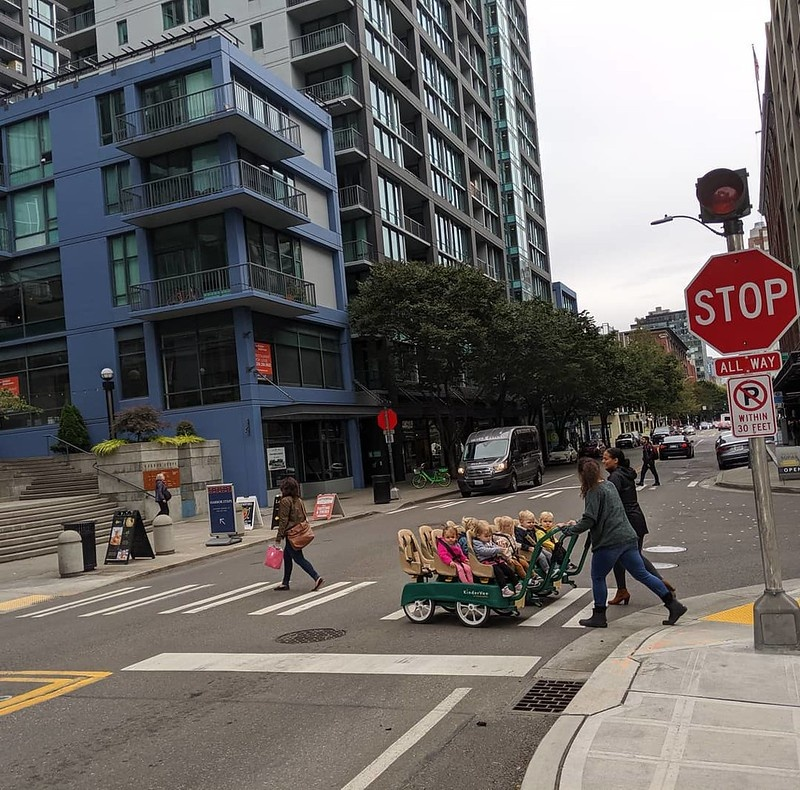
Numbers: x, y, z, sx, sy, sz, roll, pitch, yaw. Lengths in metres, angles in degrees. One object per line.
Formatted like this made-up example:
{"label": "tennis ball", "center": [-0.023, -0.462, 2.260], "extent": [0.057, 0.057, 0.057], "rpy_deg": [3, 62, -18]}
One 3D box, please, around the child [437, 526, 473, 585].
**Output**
{"label": "child", "center": [0.638, 1.851, 8.704], "extent": [0.341, 0.716, 0.408], "rpy_deg": [-2, -15, -31]}

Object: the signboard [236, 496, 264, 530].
{"label": "signboard", "center": [-4.486, 3.520, 22.908], "extent": [0.766, 1.058, 0.718], "rpy_deg": [-8, 8, 21]}

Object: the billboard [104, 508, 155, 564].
{"label": "billboard", "center": [-5.966, 3.076, 16.903], "extent": [0.707, 1.108, 0.754], "rpy_deg": [-6, -3, 30]}

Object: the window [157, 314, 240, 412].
{"label": "window", "center": [-7.848, -1.078, 30.249], "extent": [3.012, 3.171, 0.110], "rpy_deg": [-7, -8, -2]}

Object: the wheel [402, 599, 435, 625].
{"label": "wheel", "center": [0.220, 2.451, 8.788], "extent": [0.321, 0.343, 0.117], "rpy_deg": [1, 0, 17]}

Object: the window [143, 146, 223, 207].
{"label": "window", "center": [-8.292, -8.405, 29.858], "extent": [2.476, 1.574, 0.270], "rpy_deg": [-7, -11, 21]}

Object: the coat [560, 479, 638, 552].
{"label": "coat", "center": [2.055, 1.219, 7.828], "extent": [0.576, 0.604, 0.210], "rpy_deg": [-6, -3, -9]}

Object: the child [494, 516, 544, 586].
{"label": "child", "center": [1.365, 1.836, 9.077], "extent": [0.434, 0.810, 0.469], "rpy_deg": [-4, 3, -39]}

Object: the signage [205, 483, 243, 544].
{"label": "signage", "center": [-4.517, 2.983, 19.579], "extent": [0.765, 1.444, 0.780], "rpy_deg": [-3, 3, 19]}

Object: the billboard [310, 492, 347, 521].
{"label": "billboard", "center": [-2.306, 3.344, 23.158], "extent": [0.907, 0.892, 0.774], "rpy_deg": [0, 7, 35]}

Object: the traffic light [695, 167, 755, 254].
{"label": "traffic light", "center": [2.756, -1.549, 6.582], "extent": [0.431, 0.682, 0.311], "rpy_deg": [-10, -5, 40]}

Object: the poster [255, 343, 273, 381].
{"label": "poster", "center": [-5.357, -1.256, 30.171], "extent": [0.098, 1.422, 1.384], "rpy_deg": [-7, -8, 16]}

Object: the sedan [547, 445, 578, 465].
{"label": "sedan", "center": [11.264, 4.182, 53.475], "extent": [1.614, 1.478, 3.415], "rpy_deg": [-4, -8, 23]}

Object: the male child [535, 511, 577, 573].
{"label": "male child", "center": [1.836, 1.720, 9.256], "extent": [0.278, 0.676, 0.514], "rpy_deg": [3, -7, -43]}

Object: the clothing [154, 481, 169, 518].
{"label": "clothing", "center": [-7.316, 3.076, 23.817], "extent": [0.453, 1.160, 1.797], "rpy_deg": [-5, -5, -18]}

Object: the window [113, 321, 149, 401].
{"label": "window", "center": [-10.964, -1.334, 31.476], "extent": [1.386, 2.982, 0.227], "rpy_deg": [-8, -4, 23]}

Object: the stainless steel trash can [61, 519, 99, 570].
{"label": "stainless steel trash can", "center": [-6.749, 3.174, 16.432], "extent": [0.940, 1.400, 0.915], "rpy_deg": [2, -6, -24]}

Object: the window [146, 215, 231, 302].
{"label": "window", "center": [-8.084, -5.244, 29.907], "extent": [2.974, 3.164, 0.154], "rpy_deg": [-7, -7, 9]}

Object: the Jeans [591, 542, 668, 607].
{"label": "Jeans", "center": [2.325, 1.814, 7.872], "extent": [0.733, 0.567, 0.403], "rpy_deg": [-8, -4, 14]}

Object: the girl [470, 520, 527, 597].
{"label": "girl", "center": [1.079, 1.811, 8.605], "extent": [0.512, 0.648, 0.519], "rpy_deg": [-7, -4, 0]}

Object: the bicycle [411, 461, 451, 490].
{"label": "bicycle", "center": [1.382, 3.678, 34.643], "extent": [1.745, 1.142, 0.937], "rpy_deg": [2, -6, -1]}

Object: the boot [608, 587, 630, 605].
{"label": "boot", "center": [2.564, 2.342, 8.984], "extent": [0.316, 0.260, 0.125], "rpy_deg": [2, -5, 6]}

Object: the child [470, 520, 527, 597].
{"label": "child", "center": [1.037, 1.832, 8.645], "extent": [0.425, 0.804, 0.313], "rpy_deg": [-12, -2, 39]}

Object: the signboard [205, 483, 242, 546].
{"label": "signboard", "center": [-4.470, 2.999, 19.462], "extent": [0.791, 1.493, 1.370], "rpy_deg": [-6, -4, -13]}

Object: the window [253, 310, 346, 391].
{"label": "window", "center": [-4.230, -1.603, 34.000], "extent": [0.277, 2.946, 5.752], "rpy_deg": [-13, 15, -37]}

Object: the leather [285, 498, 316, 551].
{"label": "leather", "center": [-1.528, 1.906, 11.647], "extent": [0.329, 0.828, 0.207], "rpy_deg": [-13, -30, -13]}

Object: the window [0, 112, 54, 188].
{"label": "window", "center": [-16.444, -10.796, 34.211], "extent": [3.262, 3.476, 0.150], "rpy_deg": [-6, 0, 29]}

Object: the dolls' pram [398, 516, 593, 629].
{"label": "dolls' pram", "center": [0.831, 1.999, 8.854], "extent": [1.500, 0.804, 1.481], "rpy_deg": [-4, -4, 19]}

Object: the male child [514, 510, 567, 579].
{"label": "male child", "center": [1.606, 1.762, 9.257], "extent": [0.370, 0.767, 0.427], "rpy_deg": [-4, -8, -43]}

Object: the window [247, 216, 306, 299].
{"label": "window", "center": [-5.236, -5.520, 32.032], "extent": [0.242, 2.959, 4.034], "rpy_deg": [-1, 3, 23]}

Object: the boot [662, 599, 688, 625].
{"label": "boot", "center": [2.749, 2.174, 7.746], "extent": [0.258, 0.189, 0.099], "rpy_deg": [-46, -2, 34]}

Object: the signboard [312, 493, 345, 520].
{"label": "signboard", "center": [-2.299, 3.365, 23.176], "extent": [0.911, 0.891, 0.762], "rpy_deg": [-2, 5, 38]}

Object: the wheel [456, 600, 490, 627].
{"label": "wheel", "center": [0.806, 2.386, 8.471], "extent": [0.281, 0.332, 0.059], "rpy_deg": [12, 11, 27]}

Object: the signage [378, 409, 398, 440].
{"label": "signage", "center": [-0.445, 1.111, 29.205], "extent": [0.642, 0.855, 2.440], "rpy_deg": [-6, -5, -2]}

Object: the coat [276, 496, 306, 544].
{"label": "coat", "center": [-1.633, 1.804, 11.464], "extent": [0.603, 0.631, 0.374], "rpy_deg": [-4, -5, -36]}

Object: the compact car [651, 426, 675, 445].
{"label": "compact car", "center": [18.277, 2.819, 53.754], "extent": [1.056, 1.018, 2.370], "rpy_deg": [-3, -6, 24]}

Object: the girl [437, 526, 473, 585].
{"label": "girl", "center": [0.637, 1.846, 8.699], "extent": [0.339, 0.696, 0.417], "rpy_deg": [-4, -13, -24]}

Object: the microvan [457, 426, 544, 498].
{"label": "microvan", "center": [3.429, 2.395, 27.755], "extent": [1.790, 1.764, 3.787], "rpy_deg": [-6, -9, 22]}
